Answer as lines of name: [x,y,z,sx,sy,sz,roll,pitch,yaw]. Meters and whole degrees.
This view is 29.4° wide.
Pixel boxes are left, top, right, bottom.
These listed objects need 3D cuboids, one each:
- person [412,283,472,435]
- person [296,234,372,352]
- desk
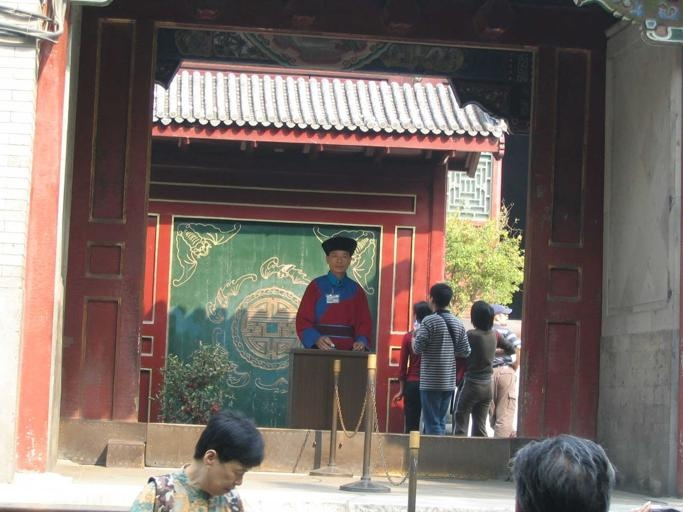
person: [0.971,1.019,12.737,0.544,1.479,0.299,1,-7,0]
person: [-0.043,0.422,13.802,0.874,1.600,0.772,4,-21,-8]
desk: [-0.074,1.266,12.700,0.987,1.129,0.634,2,-4,-2]
